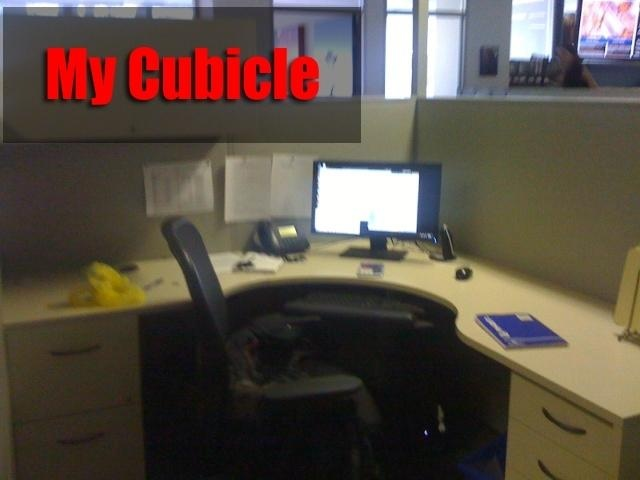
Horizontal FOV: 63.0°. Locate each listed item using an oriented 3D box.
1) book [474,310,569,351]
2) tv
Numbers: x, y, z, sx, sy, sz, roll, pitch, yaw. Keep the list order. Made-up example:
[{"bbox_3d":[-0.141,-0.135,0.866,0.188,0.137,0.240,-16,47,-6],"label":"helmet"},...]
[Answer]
[{"bbox_3d":[0.685,0.313,1.806,0.242,0.034,0.217,-2,14,-5],"label":"book"},{"bbox_3d":[0.282,-0.160,2.579,0.463,0.346,0.136,2,7,11],"label":"tv"}]
